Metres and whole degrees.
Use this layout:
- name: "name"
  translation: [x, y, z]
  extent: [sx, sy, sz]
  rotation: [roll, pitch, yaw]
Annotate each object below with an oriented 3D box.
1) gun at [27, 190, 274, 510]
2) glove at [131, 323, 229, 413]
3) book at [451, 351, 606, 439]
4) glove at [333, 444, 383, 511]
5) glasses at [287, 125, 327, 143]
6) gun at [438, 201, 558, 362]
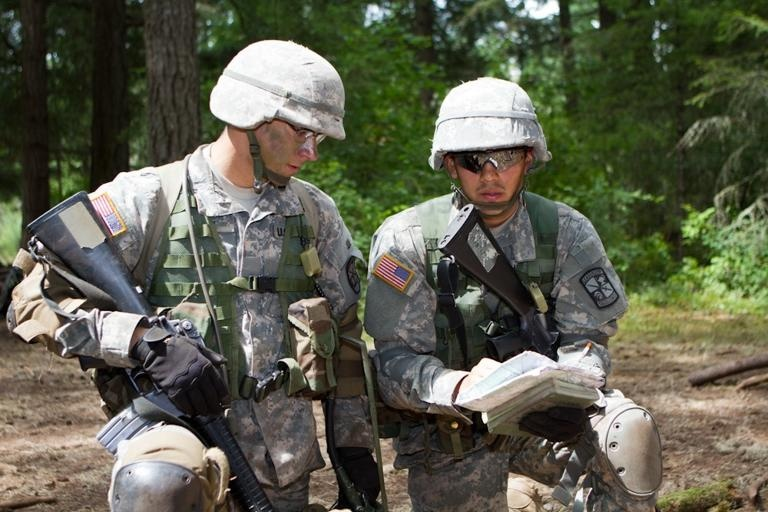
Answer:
- name: "gun"
  translation: [-1.615, 0.648, 7.722]
  extent: [1.046, 2.533, 0.438]
  rotation: [-27, -5, -6]
- name: "glove"
  translation: [-1.401, 0.784, 7.430]
  extent: [0.455, 0.748, 0.219]
  rotation: [-40, 1, -11]
- name: "book"
  translation: [1.088, 0.972, 7.641]
  extent: [0.712, 0.249, 0.719]
  rotation: [20, -34, -41]
- name: "glove"
  translation: [-0.201, 1.675, 8.167]
  extent: [0.331, 0.441, 0.183]
  rotation: [-5, -14, -30]
- name: "glasses"
  translation: [-0.557, -0.902, 7.898]
  extent: [0.169, 0.119, 0.137]
  rotation: [11, 12, 29]
- name: "gun"
  translation: [0.896, 0.200, 8.229]
  extent: [0.970, 1.187, 0.172]
  rotation: [0, 3, -16]
